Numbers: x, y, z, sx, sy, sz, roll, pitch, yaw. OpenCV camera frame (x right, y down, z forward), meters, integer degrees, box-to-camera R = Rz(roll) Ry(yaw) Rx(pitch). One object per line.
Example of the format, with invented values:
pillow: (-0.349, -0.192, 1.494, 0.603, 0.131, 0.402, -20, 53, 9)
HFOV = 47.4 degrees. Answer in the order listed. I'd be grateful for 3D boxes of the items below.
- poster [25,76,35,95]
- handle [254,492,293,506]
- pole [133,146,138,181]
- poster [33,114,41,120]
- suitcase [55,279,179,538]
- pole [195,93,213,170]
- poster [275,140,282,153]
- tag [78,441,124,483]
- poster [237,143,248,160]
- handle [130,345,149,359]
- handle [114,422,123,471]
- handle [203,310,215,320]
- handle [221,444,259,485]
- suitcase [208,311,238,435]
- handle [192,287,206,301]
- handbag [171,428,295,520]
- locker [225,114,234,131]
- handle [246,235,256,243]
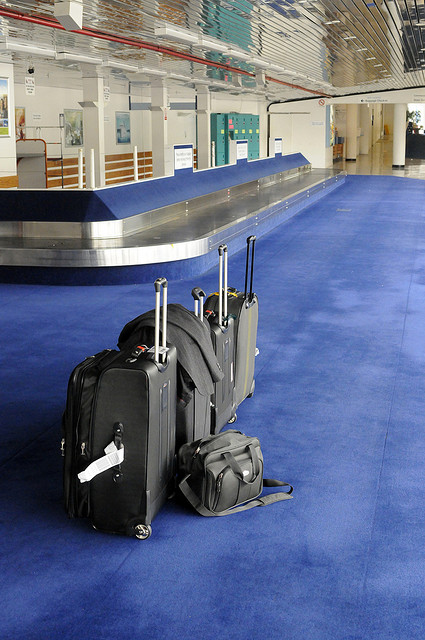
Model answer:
poster: (-4.192, -5.391, 11.057, 0.160, 0.398, 0.317, -4, 11, -28)
handle: (0.272, 0.773, 2.111, 0.165, 0.009, 0.050, -6, 21, -26)
pole: (-1.680, -3.426, 10.542, 0.053, 0.702, 0.263, -2, 10, -19)
poster: (-4.943, -5.724, 13.601, 0.029, 0.184, 0.300, 5, 10, 20)
suitcase: (-0.337, 0.347, 1.879, 0.487, 0.999, 0.428, -1, 10, -17)
pole: (-0.403, -7.541, 19.479, 0.553, 2.929, 0.376, 1, 19, 2)
poster: (2.507, -6.662, 18.535, 0.074, 0.522, 0.623, 7, 11, 30)
tag: (-0.378, 0.495, 1.683, 0.167, 0.045, 0.100, -35, 10, 25)
poster: (0.926, -5.255, 15.028, 0.178, 0.570, 0.838, 5, 10, 19)
handle: (-0.283, 0.120, 1.839, 0.028, 0.017, 0.052, -9, 24, 25)
handle: (-0.334, 0.426, 1.721, 0.024, 0.108, 0.025, 3, -5, -22)
handle: (-0.021, -0.030, 2.741, 0.036, 0.019, 0.053, 12, 50, 9)
handle: (0.122, 0.615, 2.024, 0.081, 0.159, 0.189, 10, 13, 39)
suitcase: (0.046, 0.297, 2.773, 0.151, 0.697, 0.505, 3, 10, 9)
handle: (-0.061, -0.122, 2.429, 0.050, 0.069, 0.064, -23, 23, -28)
handbag: (0.095, 0.650, 2.122, 0.514, 0.303, 0.305, -4, 11, -29)
locker: (0.770, -9.037, 22.078, 0.216, 0.831, 0.655, 7, 11, 30)
handle: (0.243, -0.501, 3.002, 0.036, 0.024, 0.063, -3, 3, -20)
